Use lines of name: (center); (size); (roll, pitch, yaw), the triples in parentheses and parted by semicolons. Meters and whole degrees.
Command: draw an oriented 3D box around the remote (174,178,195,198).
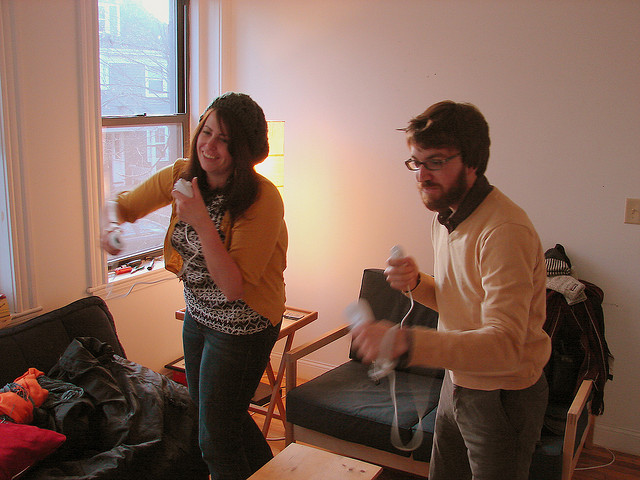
remote: (-0.483, -0.182, 1.782); (0.051, 0.070, 0.032); (-44, 0, -2)

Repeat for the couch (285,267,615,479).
couch: (0.852, 0.580, 2.908); (1.816, 1.117, 1.278); (4, 6, 30)

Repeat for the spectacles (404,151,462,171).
spectacles: (0.340, -0.247, 1.565); (0.188, 0.053, 0.071); (7, 13, 36)

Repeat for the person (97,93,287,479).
person: (-0.453, 0.313, 2.026); (0.651, 1.747, 0.343); (6, 12, 31)
